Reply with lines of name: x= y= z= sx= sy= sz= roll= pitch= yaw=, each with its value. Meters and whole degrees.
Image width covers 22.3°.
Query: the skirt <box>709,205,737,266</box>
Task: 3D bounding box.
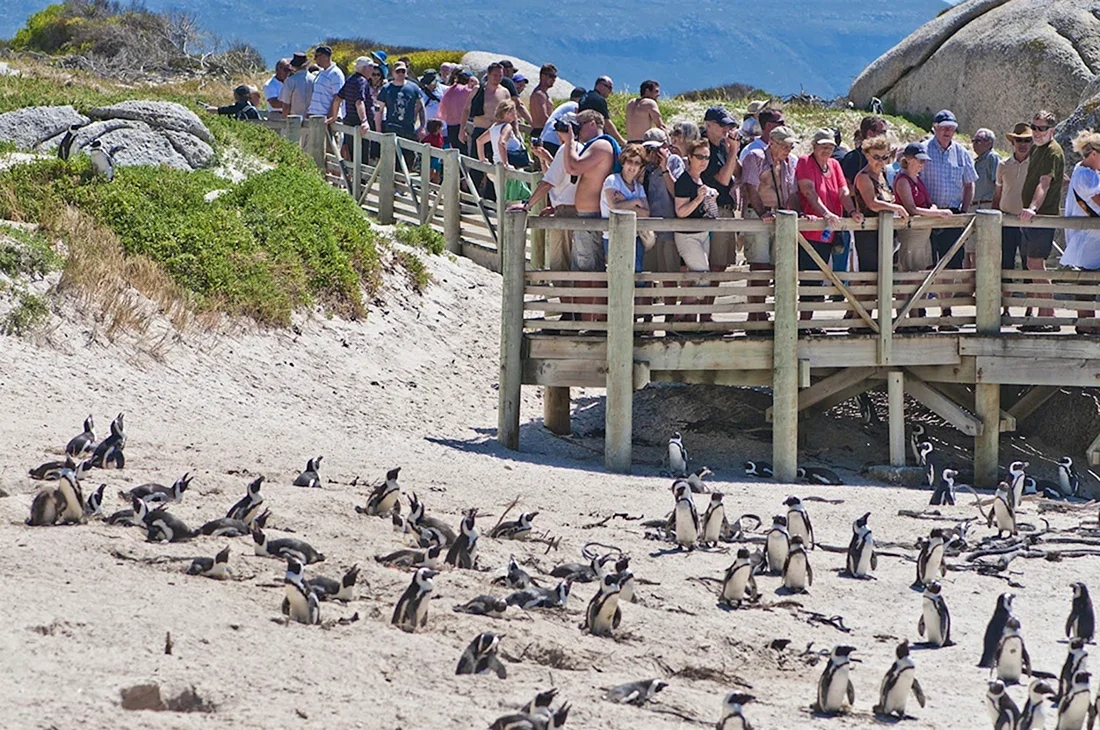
skirt: x=3.443 y=-2.385 z=56.298 sx=0.422 sy=1.000 sz=0.654 roll=-3 pitch=6 yaw=24

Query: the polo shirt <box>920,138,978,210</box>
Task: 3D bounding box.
polo shirt: x=7.984 y=-3.804 z=56.814 sx=1.358 sy=1.563 sz=0.795 roll=-1 pitch=1 yaw=-12

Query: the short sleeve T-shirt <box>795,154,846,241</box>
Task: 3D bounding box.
short sleeve T-shirt: x=5.324 y=-3.304 z=55.836 sx=1.032 sy=1.582 sz=0.577 roll=4 pitch=-7 yaw=-13

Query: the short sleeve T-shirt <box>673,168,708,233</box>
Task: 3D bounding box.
short sleeve T-shirt: x=2.619 y=-3.209 z=55.454 sx=0.684 sy=1.430 sz=1.021 roll=1 pitch=9 yaw=22

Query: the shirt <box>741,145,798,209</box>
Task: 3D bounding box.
shirt: x=4.510 y=-3.838 z=56.048 sx=1.255 sy=1.342 sz=0.767 roll=2 pitch=31 yaw=9

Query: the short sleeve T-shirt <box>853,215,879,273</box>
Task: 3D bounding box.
short sleeve T-shirt: x=6.317 y=-2.270 z=56.260 sx=0.157 sy=0.698 sz=0.681 roll=2 pitch=5 yaw=-29

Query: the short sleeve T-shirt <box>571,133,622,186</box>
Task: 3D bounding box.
short sleeve T-shirt: x=1.056 y=-4.185 z=55.560 sx=0.841 sy=0.920 sz=0.628 roll=17 pitch=25 yaw=19

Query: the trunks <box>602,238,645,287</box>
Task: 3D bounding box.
trunks: x=1.389 y=-2.022 z=55.478 sx=0.572 sy=1.061 sz=0.595 roll=4 pitch=32 yaw=10

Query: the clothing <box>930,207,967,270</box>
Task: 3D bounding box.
clothing: x=8.037 y=-2.511 z=56.926 sx=0.685 sy=1.227 sz=1.454 roll=1 pitch=-7 yaw=8

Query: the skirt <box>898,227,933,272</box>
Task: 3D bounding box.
skirt: x=7.292 y=-2.248 z=56.517 sx=0.661 sy=0.892 sz=0.504 roll=2 pitch=-7 yaw=7

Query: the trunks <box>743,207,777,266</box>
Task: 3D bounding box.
trunks: x=4.147 y=-2.483 z=56.330 sx=0.527 sy=1.045 sz=0.681 roll=1 pitch=-9 yaw=32

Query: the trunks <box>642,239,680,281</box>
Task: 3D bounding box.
trunks: x=2.219 y=-2.149 z=56.280 sx=0.839 sy=1.026 sz=0.585 roll=0 pitch=5 yaw=-6

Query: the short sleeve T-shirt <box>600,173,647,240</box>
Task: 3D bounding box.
short sleeve T-shirt: x=1.386 y=-3.096 z=55.233 sx=1.060 sy=1.469 sz=0.711 roll=1 pitch=6 yaw=7

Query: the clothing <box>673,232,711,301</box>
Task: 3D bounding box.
clothing: x=2.919 y=-2.179 z=55.931 sx=0.533 sy=1.569 sz=0.419 roll=9 pitch=38 yaw=0

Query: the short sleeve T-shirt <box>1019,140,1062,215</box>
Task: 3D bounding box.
short sleeve T-shirt: x=9.907 y=-3.803 z=56.621 sx=0.654 sy=1.513 sz=1.122 roll=-1 pitch=11 yaw=-9

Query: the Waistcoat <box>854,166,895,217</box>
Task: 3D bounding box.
Waistcoat: x=6.383 y=-3.401 z=55.901 sx=0.630 sy=0.939 sz=0.478 roll=-25 pitch=8 yaw=-31

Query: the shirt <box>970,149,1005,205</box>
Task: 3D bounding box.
shirt: x=8.978 y=-3.802 z=57.895 sx=0.546 sy=1.114 sz=0.867 roll=-16 pitch=19 yaw=-39

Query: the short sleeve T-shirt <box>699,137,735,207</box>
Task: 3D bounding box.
short sleeve T-shirt: x=3.235 y=-3.856 z=55.683 sx=0.357 sy=0.464 sz=1.246 roll=-2 pitch=-27 yaw=18
